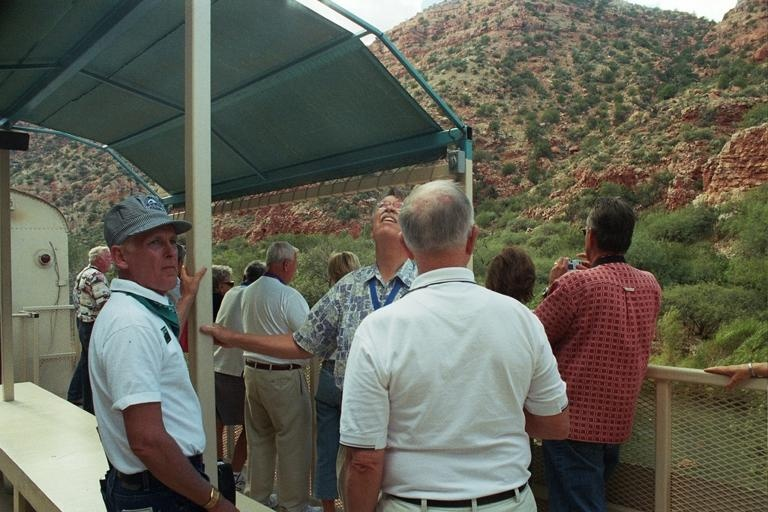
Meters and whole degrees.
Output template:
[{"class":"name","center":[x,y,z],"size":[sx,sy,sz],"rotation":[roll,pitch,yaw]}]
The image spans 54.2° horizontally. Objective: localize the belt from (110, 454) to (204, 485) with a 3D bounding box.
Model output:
[{"class":"belt","center":[-1.611,1.560,5.397],"size":[0.373,0.157,0.322],"rotation":[-12,-3,5]}]

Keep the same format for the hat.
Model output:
[{"class":"hat","center":[-1.799,-0.230,5.579],"size":[0.461,0.263,0.379],"rotation":[-25,1,13]}]
